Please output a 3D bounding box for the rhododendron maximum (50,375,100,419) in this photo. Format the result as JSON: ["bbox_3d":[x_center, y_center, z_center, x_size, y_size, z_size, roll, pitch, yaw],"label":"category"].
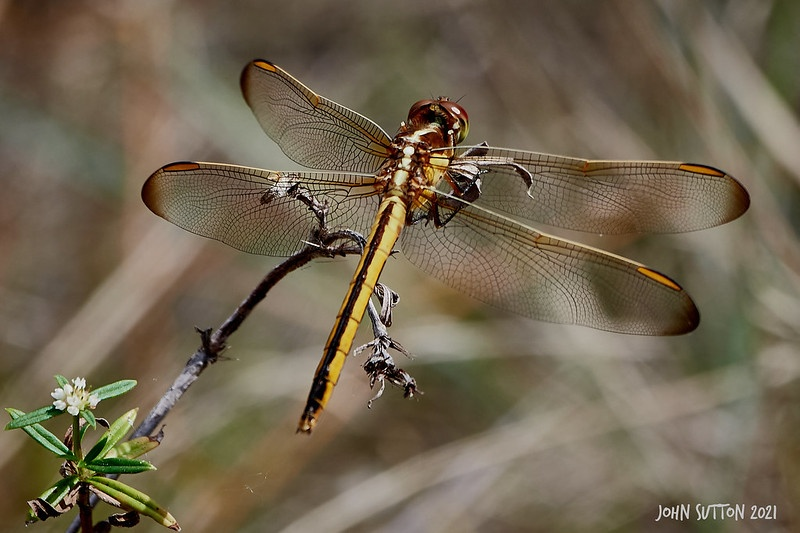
[{"bbox_3d":[-0.807,0.332,2.035,0.114,0.110,0.152,-10,14,-41],"label":"rhododendron maximum"}]
